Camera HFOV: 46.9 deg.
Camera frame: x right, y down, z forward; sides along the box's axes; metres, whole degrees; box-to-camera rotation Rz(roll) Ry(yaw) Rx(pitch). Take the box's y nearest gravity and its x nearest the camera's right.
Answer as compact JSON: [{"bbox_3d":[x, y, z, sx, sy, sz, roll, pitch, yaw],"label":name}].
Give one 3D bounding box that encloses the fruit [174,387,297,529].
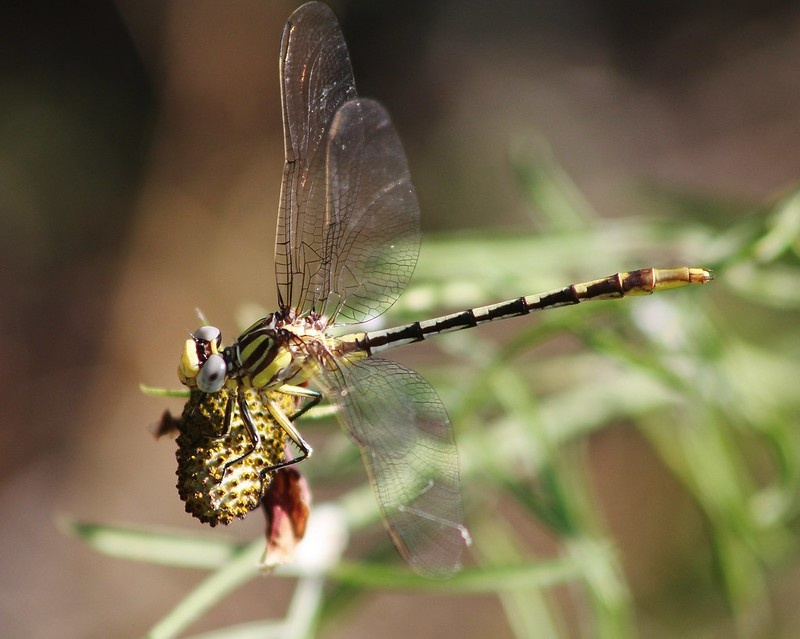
[{"bbox_3d":[-0.215,0.158,1.186,0.128,0.070,0.206,-5,54,9],"label":"fruit"}]
